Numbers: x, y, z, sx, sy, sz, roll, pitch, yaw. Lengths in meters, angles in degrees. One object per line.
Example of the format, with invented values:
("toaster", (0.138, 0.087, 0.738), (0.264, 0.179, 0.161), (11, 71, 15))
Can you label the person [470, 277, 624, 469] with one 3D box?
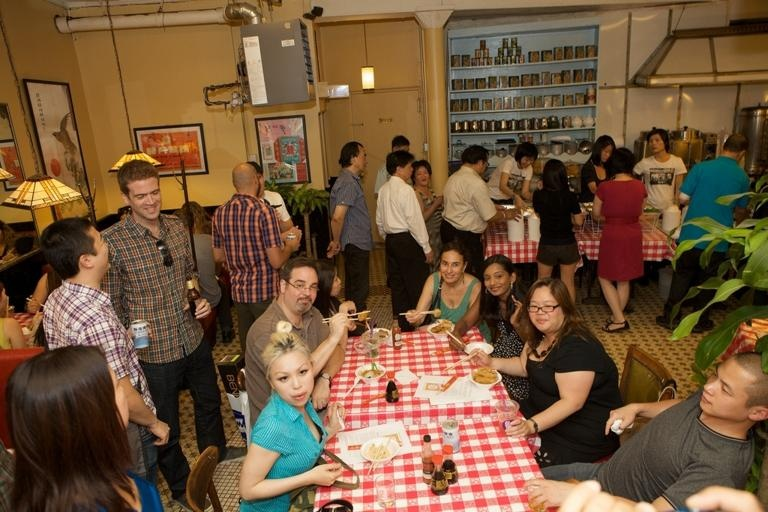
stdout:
("person", (1.148, 0.935, 3.823), (0.891, 1.435, 0.934), (-2, 0, -14))

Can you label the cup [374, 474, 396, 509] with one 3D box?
("cup", (-0.003, 1.307, 2.982), (0.103, 0.131, 0.119), (-5, 25, -7))

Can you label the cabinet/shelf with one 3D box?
("cabinet/shelf", (2.364, -2.786, 8.816), (2.570, 2.345, 0.878), (-1, 14, 3))

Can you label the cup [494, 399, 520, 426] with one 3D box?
("cup", (0.770, 0.968, 3.373), (0.120, 0.099, 0.124), (-4, 8, 1))

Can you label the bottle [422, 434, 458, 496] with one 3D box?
("bottle", (0.317, 1.189, 3.028), (0.139, 0.236, 0.148), (-7, 32, 4))

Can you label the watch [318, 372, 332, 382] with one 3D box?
("watch", (-0.413, 0.842, 3.747), (0.064, 0.066, 0.044), (9, 37, -27))

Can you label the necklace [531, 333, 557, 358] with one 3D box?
("necklace", (1.097, 0.625, 3.699), (0.151, 0.053, 0.118), (-42, 21, 10))

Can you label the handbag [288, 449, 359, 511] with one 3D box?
("handbag", (-0.361, 1.358, 3.139), (0.086, 0.342, 0.339), (31, 12, -50))

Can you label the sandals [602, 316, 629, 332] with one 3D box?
("sandals", (2.589, 0.759, 6.000), (0.245, 0.098, 0.145), (-2, 11, 10))
